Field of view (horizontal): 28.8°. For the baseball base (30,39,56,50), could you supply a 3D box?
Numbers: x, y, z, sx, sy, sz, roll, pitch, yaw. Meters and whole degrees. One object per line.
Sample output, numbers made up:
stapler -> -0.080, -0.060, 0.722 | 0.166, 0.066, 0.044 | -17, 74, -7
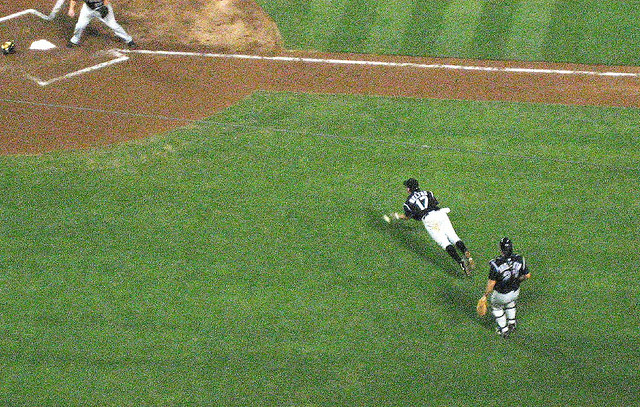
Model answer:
baseball base -> -9.479, -5.449, 42.804 | 0.780, 0.336, 0.519 | 4, 10, -13

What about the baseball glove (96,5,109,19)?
baseball glove -> -7.253, -6.487, 42.017 | 0.341, 0.340, 0.151 | -6, 28, -11

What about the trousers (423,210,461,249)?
trousers -> 3.575, 0.730, 37.016 | 0.751, 1.367, 0.503 | -37, -15, -9

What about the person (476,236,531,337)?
person -> 5.260, 2.418, 35.528 | 1.307, 2.881, 0.493 | 2, 14, -31

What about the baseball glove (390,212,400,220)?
baseball glove -> 2.286, 0.351, 37.394 | 0.333, 0.101, 0.302 | -5, -11, 19

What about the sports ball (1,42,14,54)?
sports ball -> -10.574, -5.264, 42.260 | 0.399, 0.399, 0.263 | 7, 11, -7
